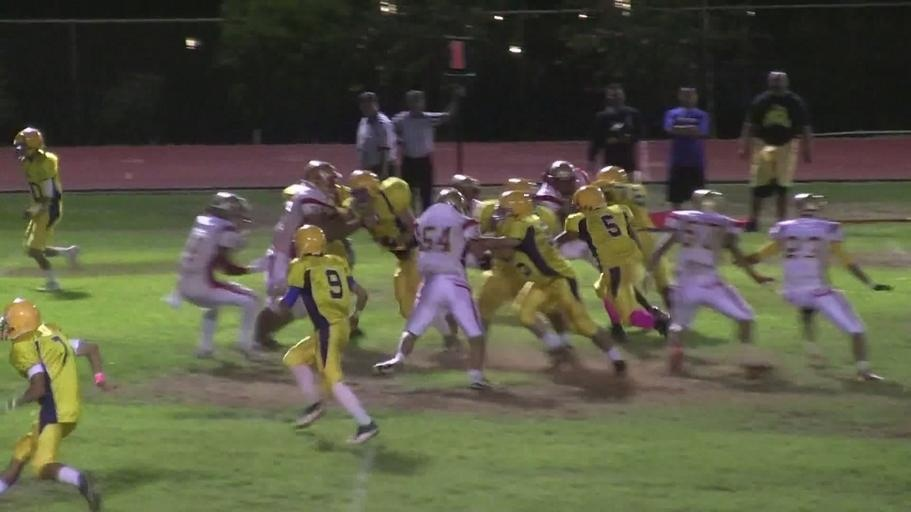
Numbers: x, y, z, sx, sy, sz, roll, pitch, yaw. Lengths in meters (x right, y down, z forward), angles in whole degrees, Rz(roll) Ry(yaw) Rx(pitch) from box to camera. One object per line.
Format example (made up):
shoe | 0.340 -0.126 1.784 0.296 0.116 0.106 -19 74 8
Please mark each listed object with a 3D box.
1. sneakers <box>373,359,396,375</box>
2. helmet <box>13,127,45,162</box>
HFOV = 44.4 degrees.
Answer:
sneakers | -0.962 1.537 15.454 0.444 0.142 0.236 2 -23 -21
helmet | -7.690 -2.052 20.138 0.564 0.435 0.371 -15 19 -29
